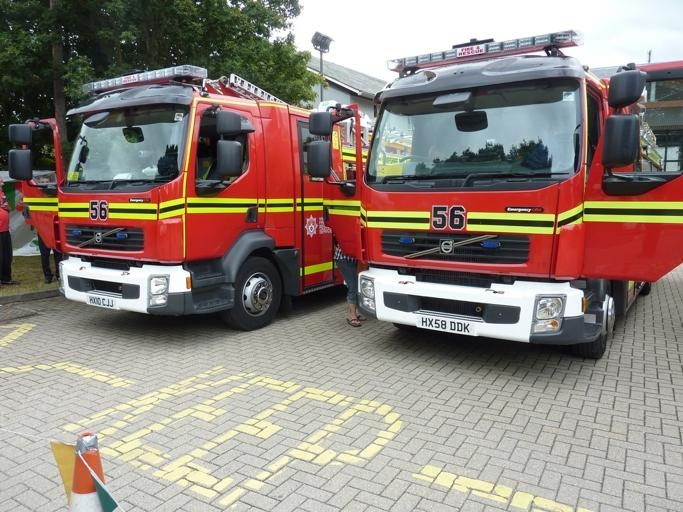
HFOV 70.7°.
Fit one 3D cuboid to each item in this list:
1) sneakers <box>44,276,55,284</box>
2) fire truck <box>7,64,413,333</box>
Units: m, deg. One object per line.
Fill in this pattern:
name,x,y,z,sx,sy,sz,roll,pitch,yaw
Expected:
sneakers,-5.947,0.513,9.800,0.173,0.134,0.173,-1,-15,4
fire truck,-1.133,-0.936,8.834,3.799,2.526,6.005,3,4,29
